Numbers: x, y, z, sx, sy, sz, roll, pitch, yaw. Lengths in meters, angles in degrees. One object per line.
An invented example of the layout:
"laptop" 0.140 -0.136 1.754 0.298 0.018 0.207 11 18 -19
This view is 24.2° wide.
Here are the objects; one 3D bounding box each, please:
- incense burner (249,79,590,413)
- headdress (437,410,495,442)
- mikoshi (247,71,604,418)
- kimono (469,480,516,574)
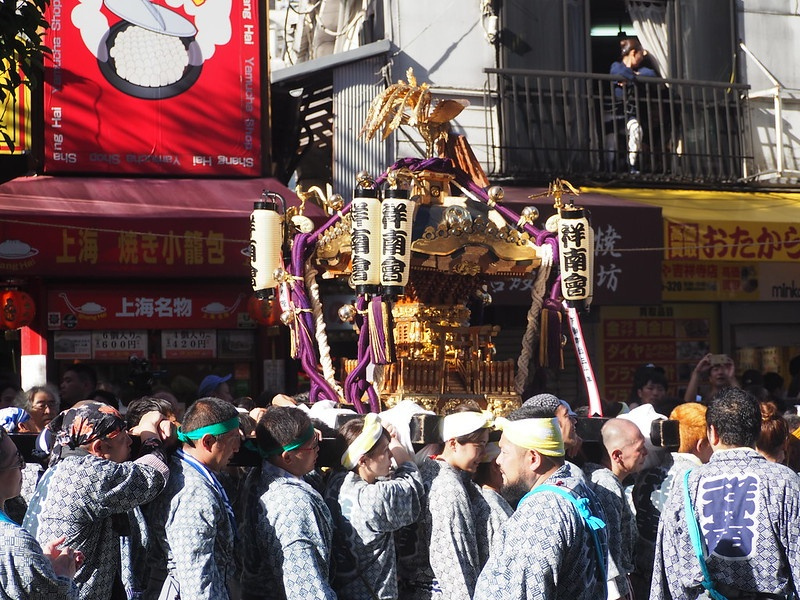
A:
"incense burner" -0.018 -0.483 19.876 3.491 4.272 3.263 2 -5 -26
"headdress" 0.586 1.073 16.375 0.325 0.167 0.288 -3 -2 -6
"mikoshi" 0.343 -0.425 19.223 3.297 3.439 3.374 1 0 -1
"kimono" 0.825 1.925 16.546 0.452 0.826 0.615 -5 -7 -12
